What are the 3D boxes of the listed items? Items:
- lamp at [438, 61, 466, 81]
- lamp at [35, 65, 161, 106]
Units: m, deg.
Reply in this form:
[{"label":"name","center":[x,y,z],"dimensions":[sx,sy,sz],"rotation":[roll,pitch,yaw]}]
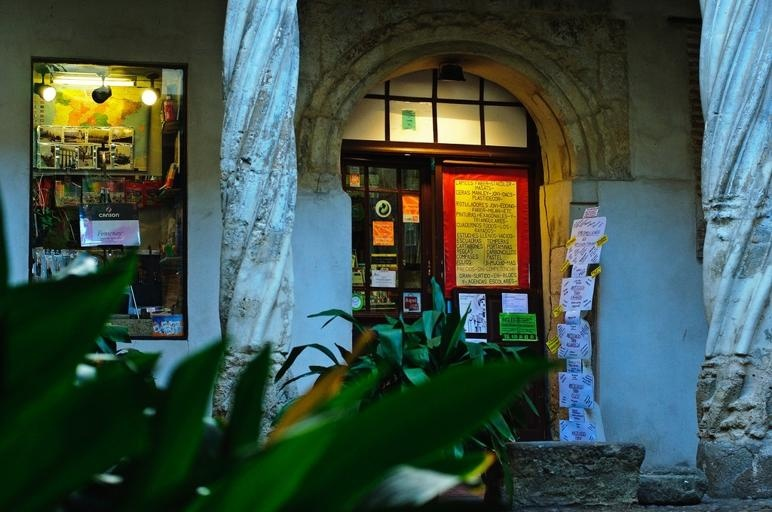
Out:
[{"label":"lamp","center":[0.582,-1.678,8.337],"dimensions":[0.220,0.109,0.198],"rotation":[1,1,2]},{"label":"lamp","center":[-2.432,-1.419,7.731],"dimensions":[0.991,0.273,0.067],"rotation":[1,1,-9]}]
